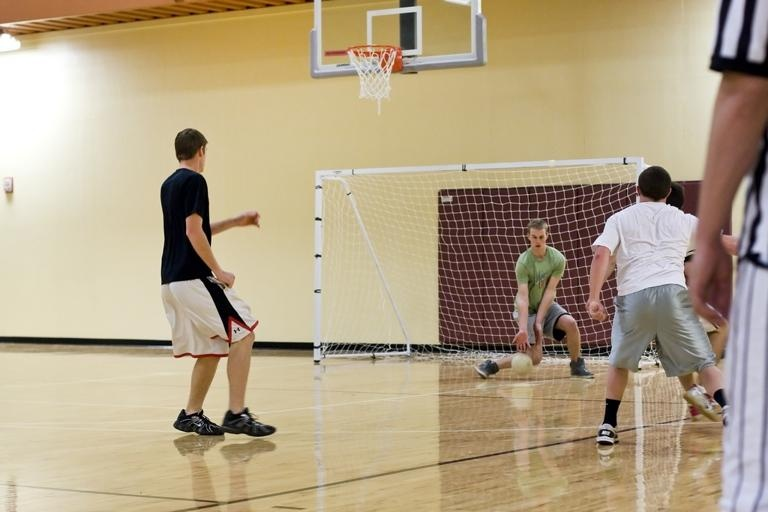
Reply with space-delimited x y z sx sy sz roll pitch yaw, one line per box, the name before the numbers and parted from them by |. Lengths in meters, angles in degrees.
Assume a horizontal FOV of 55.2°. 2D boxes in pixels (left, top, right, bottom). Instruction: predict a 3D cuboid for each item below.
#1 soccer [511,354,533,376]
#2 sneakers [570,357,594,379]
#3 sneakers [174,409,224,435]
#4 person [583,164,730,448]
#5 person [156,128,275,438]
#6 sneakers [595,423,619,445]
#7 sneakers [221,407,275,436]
soccer | 1.368 1.071 7.303 0.208 0.202 0.239 -1 -1 9
sneakers | 2.031 1.174 7.665 0.331 0.261 0.119 -3 -2 14
sneakers | -1.248 1.127 5.006 0.371 0.186 0.148 8 -7 1
person | 1.750 0.297 4.556 0.918 1.775 0.784 2 -17 11
person | -1.145 0.306 4.818 0.672 1.460 0.364 0 0 -4
sneakers | 1.387 1.101 4.562 0.074 0.093 0.197 1 0 17
sneakers | -0.918 1.109 4.944 0.409 0.215 0.158 4 -7 8
